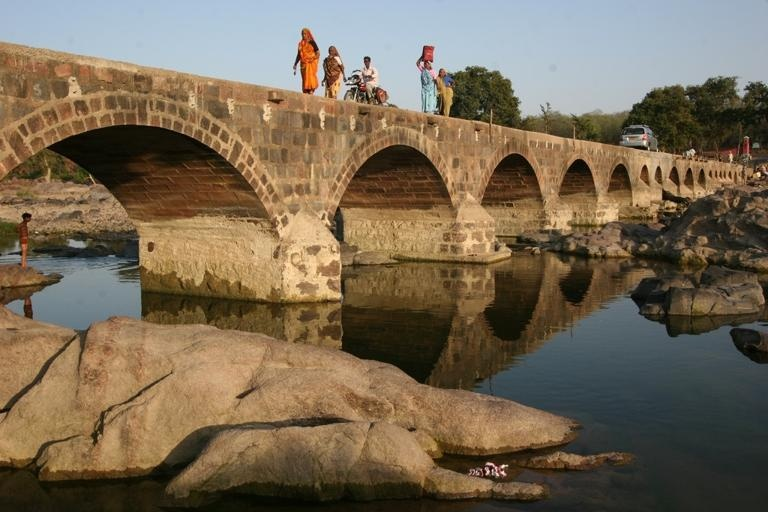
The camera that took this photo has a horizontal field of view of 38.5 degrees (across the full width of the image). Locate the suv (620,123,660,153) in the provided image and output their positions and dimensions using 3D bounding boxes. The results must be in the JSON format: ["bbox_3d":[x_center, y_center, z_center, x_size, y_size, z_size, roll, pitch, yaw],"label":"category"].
[{"bbox_3d":[12.820,-5.891,55.006,1.149,1.078,2.791,5,12,27],"label":"suv"}]

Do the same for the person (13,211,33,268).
[{"bbox_3d":[-9.782,-0.484,30.464,0.344,1.459,1.428,0,-7,-14],"label":"person"}]
